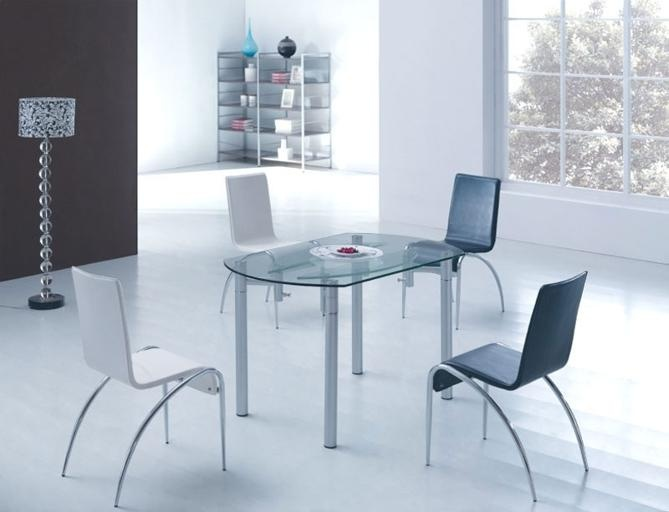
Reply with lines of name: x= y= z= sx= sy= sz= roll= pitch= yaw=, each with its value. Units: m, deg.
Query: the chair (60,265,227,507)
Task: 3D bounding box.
chair: x=-0.922 y=0.507 z=2.682 sx=0.625 sy=0.980 sz=0.755 roll=-12 pitch=20 yaw=-43

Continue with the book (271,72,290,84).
book: x=-0.990 y=-3.314 z=10.852 sx=0.273 sy=0.172 sz=0.269 roll=8 pitch=14 yaw=36

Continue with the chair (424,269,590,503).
chair: x=0.794 y=0.552 z=2.713 sx=0.584 sy=0.936 sz=0.656 roll=-6 pitch=9 yaw=-32

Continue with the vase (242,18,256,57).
vase: x=-1.624 y=-4.197 z=11.239 sx=0.288 sy=0.710 sz=0.679 roll=-1 pitch=15 yaw=-10

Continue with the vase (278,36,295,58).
vase: x=-0.843 y=-3.807 z=10.613 sx=0.354 sy=0.413 sz=0.349 roll=-15 pitch=26 yaw=-38

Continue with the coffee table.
coffee table: x=0.094 y=0.442 z=3.430 sx=1.458 sy=0.966 sz=0.854 roll=0 pitch=1 yaw=12

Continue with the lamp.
lamp: x=-2.465 y=-0.535 z=5.117 sx=0.488 sy=1.669 sz=1.260 roll=-4 pitch=16 yaw=-23

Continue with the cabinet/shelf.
cabinet/shelf: x=-1.085 y=-2.835 z=11.166 sx=2.227 sy=2.155 sz=0.752 roll=5 pitch=8 yaw=36
